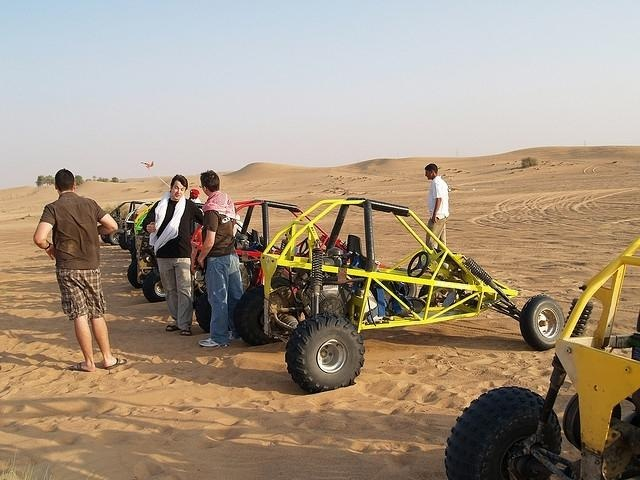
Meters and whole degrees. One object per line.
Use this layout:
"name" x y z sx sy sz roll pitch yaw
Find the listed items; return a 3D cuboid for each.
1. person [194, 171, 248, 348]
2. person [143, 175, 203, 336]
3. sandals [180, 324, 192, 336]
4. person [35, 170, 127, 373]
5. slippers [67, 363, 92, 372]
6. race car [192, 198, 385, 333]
"person" -1.549 0.267 7.277 1.046 2.212 1.076 1 1 3
"person" -2.049 0.246 7.656 0.812 2.334 0.763 -7 11 -14
"sandals" -1.940 1.322 7.694 0.242 0.176 0.094 4 6 -6
"person" -2.809 0.395 6.225 0.902 2.425 0.539 -10 13 -31
"slippers" -2.947 1.553 6.502 0.373 0.067 0.124 5 -1 12
"race car" -0.456 0.253 8.360 3.205 1.592 2.195 -7 10 -36
